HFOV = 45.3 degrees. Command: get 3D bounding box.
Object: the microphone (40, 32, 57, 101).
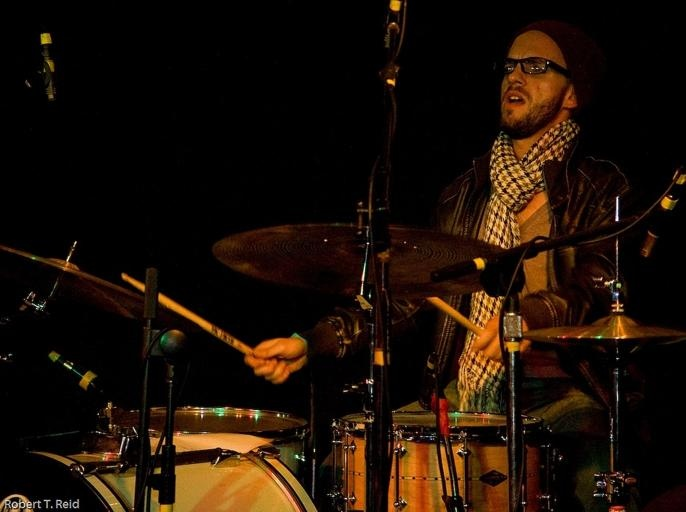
[{"bbox_3d":[-1.325,-0.841,3.667,0.080,0.279,0.054,-5,18,-31],"label":"microphone"}]
